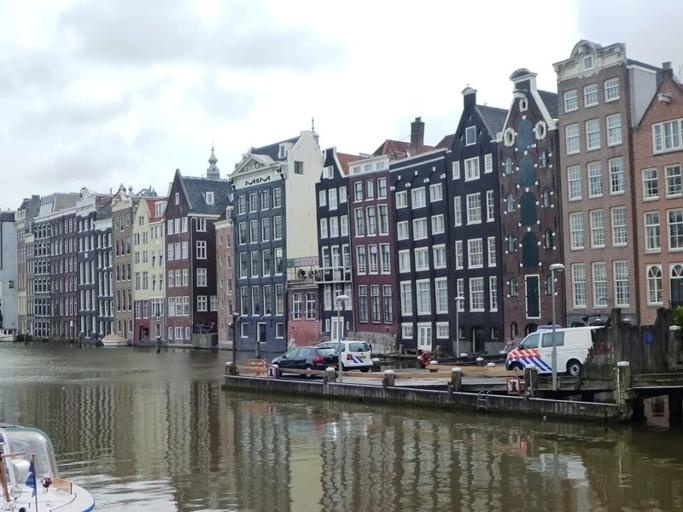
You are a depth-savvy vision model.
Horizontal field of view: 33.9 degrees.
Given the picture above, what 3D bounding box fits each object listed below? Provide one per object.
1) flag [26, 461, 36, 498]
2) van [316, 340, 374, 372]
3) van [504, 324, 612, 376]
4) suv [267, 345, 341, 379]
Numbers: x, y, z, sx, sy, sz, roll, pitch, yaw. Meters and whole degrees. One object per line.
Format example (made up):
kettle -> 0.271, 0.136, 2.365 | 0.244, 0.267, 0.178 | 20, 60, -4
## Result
flag -> -10.919, 7.935, 39.506 | 0.384, 1.227, 1.473 | -1, -8, -17
van -> 0.180, 6.475, 71.330 | 1.894, 1.457, 3.508 | 0, 1, -32
van -> 11.059, 5.017, 58.847 | 4.761, 2.472, 2.333 | -3, -6, 41
suv -> -2.276, 6.605, 69.174 | 3.350, 1.531, 1.983 | 0, -4, 35
